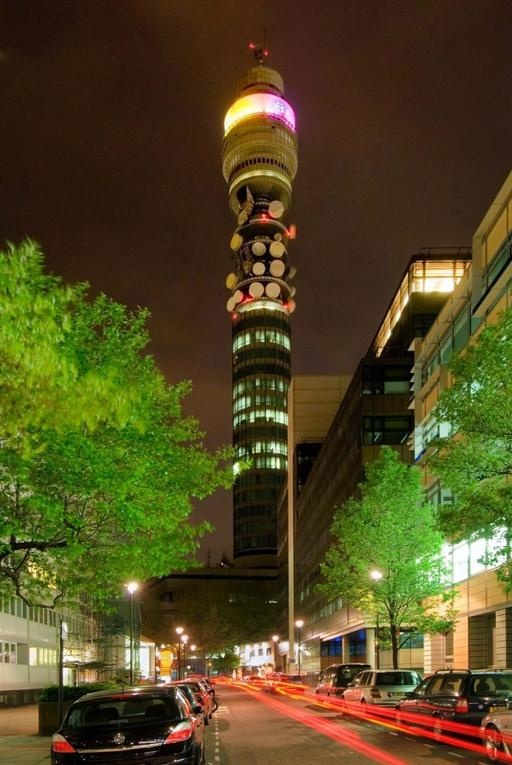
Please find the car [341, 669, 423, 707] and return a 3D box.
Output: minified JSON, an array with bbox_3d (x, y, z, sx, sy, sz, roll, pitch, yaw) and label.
[{"bbox_3d":[3.721,9.161,28.778,1.196,0.886,2.665,1,-11,-10],"label":"car"}]
